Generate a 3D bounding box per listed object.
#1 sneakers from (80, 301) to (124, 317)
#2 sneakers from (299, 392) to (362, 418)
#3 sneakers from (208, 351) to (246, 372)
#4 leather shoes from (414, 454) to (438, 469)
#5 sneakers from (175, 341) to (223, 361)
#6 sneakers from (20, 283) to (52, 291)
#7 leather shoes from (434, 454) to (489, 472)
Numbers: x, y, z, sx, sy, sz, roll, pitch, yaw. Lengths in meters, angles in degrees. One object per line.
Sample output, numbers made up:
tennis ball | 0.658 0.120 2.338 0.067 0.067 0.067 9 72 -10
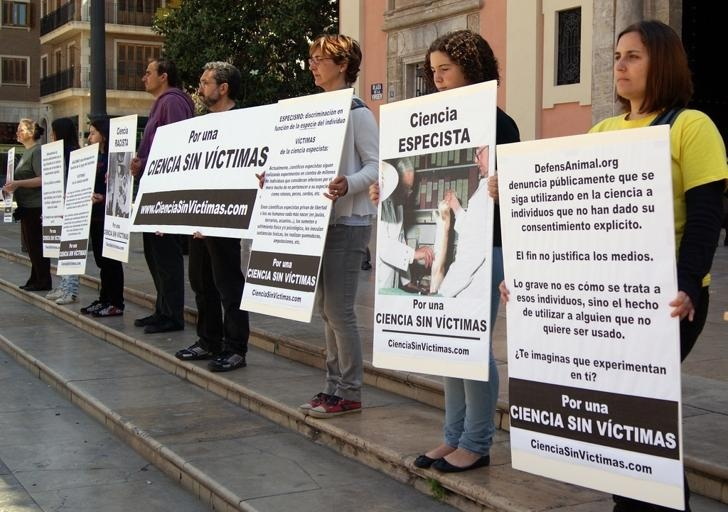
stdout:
sneakers | -3.164 0.654 8.293 0.314 0.107 0.239 7 -1 -23
sneakers | -0.229 1.046 4.831 0.287 0.117 0.183 5 -8 -16
sneakers | -1.204 0.916 5.994 0.131 0.138 0.316 -8 -11 41
leather shoes | 0.355 1.176 3.968 0.121 0.040 0.067 0 0 -36
sneakers | -1.523 0.879 6.306 0.436 0.191 0.161 5 -7 -6
sneakers | -4.907 0.473 10.179 0.461 0.185 0.168 -2 0 15
leather shoes | 0.558 1.172 3.870 0.283 0.086 0.114 4 -5 -8
